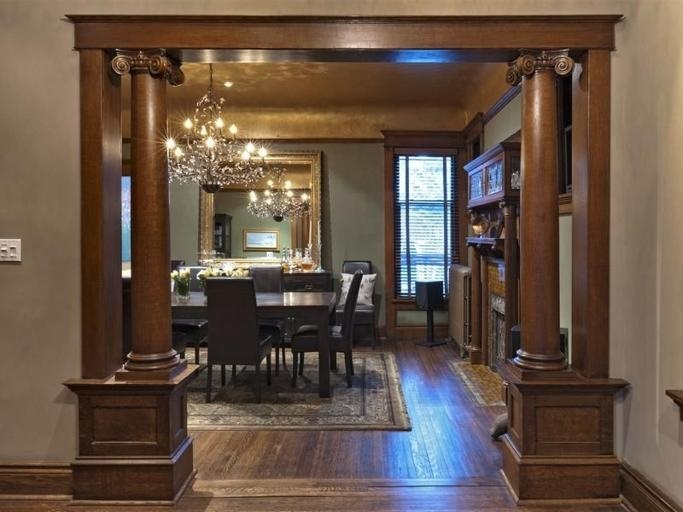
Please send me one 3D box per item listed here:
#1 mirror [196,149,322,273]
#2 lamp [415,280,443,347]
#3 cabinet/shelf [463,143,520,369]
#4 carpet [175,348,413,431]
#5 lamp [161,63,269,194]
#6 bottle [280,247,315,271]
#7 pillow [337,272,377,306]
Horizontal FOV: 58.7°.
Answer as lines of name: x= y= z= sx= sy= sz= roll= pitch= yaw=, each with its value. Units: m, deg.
mirror: x=-1.004 y=-0.547 z=7.428 sx=1.394 sy=1.679 sz=0.072 roll=0 pitch=-3 yaw=1
lamp: x=1.048 y=0.661 z=7.167 sx=0.326 sy=0.764 sz=0.295 roll=-3 pitch=7 yaw=-20
cabinet/shelf: x=1.426 y=0.034 z=5.795 sx=0.411 sy=2.209 sz=1.396 roll=0 pitch=7 yaw=7
carpet: x=-0.394 y=1.171 z=5.527 sx=1.920 sy=0.083 sz=2.137 roll=0 pitch=7 yaw=2
lamp: x=-1.337 y=-1.364 z=6.774 sx=1.147 sy=1.262 sz=2.144 roll=-2 pitch=7 yaw=-14
bottle: x=-0.534 y=0.044 z=7.535 sx=0.247 sy=0.225 sz=0.105 roll=3 pitch=-10 yaw=-16
pillow: x=0.184 y=0.367 z=6.771 sx=0.392 sy=0.421 sz=0.155 roll=2 pitch=-26 yaw=6
